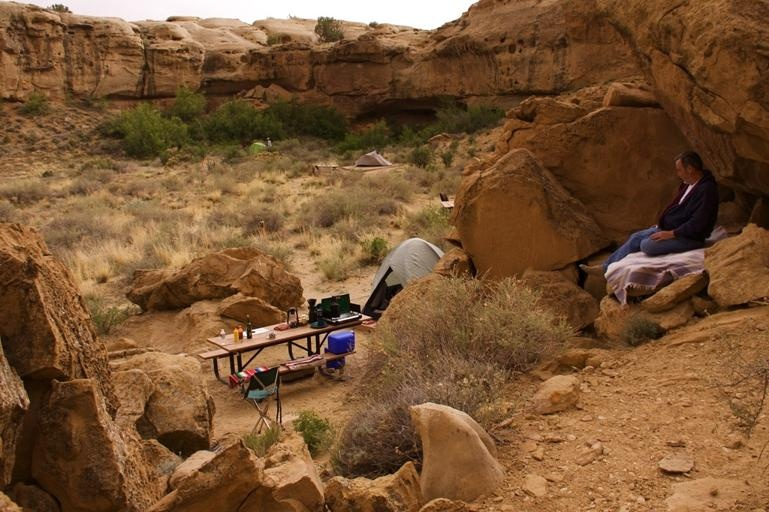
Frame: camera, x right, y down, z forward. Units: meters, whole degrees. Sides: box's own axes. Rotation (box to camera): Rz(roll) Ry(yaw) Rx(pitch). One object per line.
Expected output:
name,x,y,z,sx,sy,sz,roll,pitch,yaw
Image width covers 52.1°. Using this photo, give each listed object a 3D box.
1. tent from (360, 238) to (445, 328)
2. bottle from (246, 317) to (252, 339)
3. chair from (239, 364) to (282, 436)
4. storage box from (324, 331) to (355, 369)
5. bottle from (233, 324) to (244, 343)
tent,0.531,0.368,15.747,1.323,1.389,2.118,-1,9,40
bottle,-2.408,1.260,14.008,0.106,0.316,0.466,-1,7,-10
chair,-1.884,2.257,12.158,0.551,0.935,0.687,-1,0,0
storage box,-0.788,1.676,13.887,0.303,0.570,0.569,8,11,41
bottle,-2.557,1.366,13.864,0.191,0.201,0.342,0,7,-2
